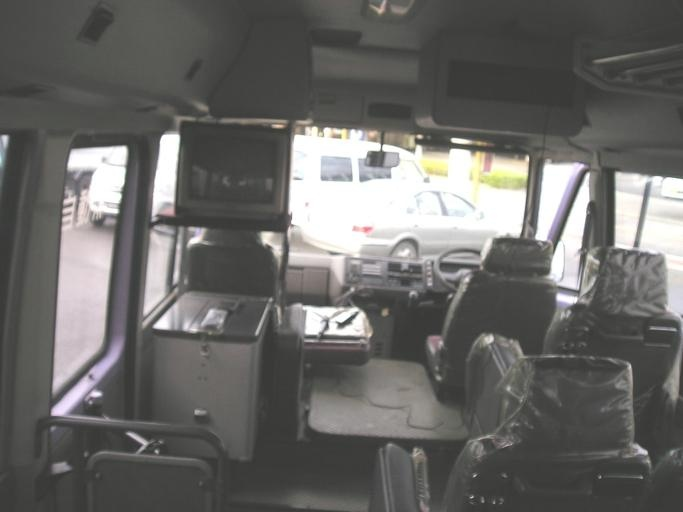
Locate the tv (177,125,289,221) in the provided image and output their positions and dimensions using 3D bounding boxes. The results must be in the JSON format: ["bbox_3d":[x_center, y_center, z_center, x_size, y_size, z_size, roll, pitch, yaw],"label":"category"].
[{"bbox_3d":[-0.699,-0.542,3.911,0.705,0.611,0.203,4,3,-16],"label":"tv"}]
